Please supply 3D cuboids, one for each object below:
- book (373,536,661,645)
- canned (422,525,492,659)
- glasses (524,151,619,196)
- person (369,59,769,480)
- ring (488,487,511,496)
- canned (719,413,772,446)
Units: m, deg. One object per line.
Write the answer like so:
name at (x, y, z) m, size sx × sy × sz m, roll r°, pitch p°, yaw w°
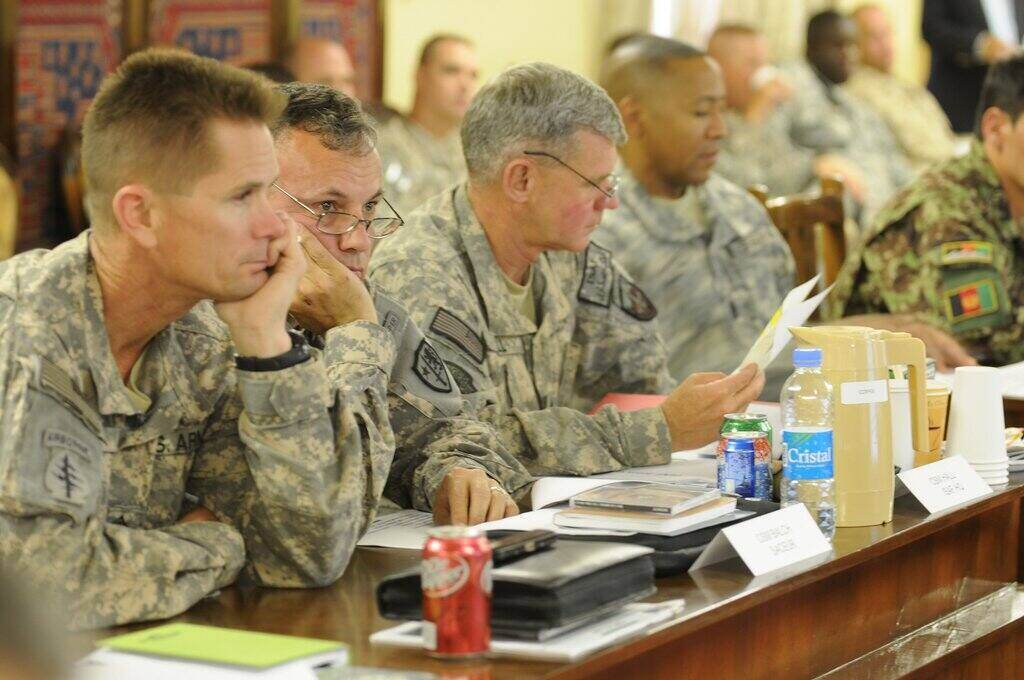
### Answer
book at (0.013, 0.350, 1.344) m, size 0.198 × 0.050 × 0.233 m, roll -4°, pitch -3°, yaw 33°
canned at (-0.071, 0.332, 1.281) m, size 0.096 × 0.178 × 0.057 m, roll 2°, pitch 13°, yaw -10°
glasses at (0.169, -0.454, 2.607) m, size 0.176 × 0.043 × 0.128 m, roll 35°, pitch -23°, yaw -17°
person at (0.060, -0.212, 2.695) m, size 1.191 × 0.934 × 0.866 m, roll 4°, pitch 13°, yaw 25°
ring at (-0.029, 0.301, 1.942) m, size 0.028 × 0.010 × 0.020 m, roll 13°, pitch 18°, yaw -34°
canned at (0.475, 0.183, 1.945) m, size 0.076 × 0.061 × 0.072 m, roll 2°, pitch -1°, yaw 8°
